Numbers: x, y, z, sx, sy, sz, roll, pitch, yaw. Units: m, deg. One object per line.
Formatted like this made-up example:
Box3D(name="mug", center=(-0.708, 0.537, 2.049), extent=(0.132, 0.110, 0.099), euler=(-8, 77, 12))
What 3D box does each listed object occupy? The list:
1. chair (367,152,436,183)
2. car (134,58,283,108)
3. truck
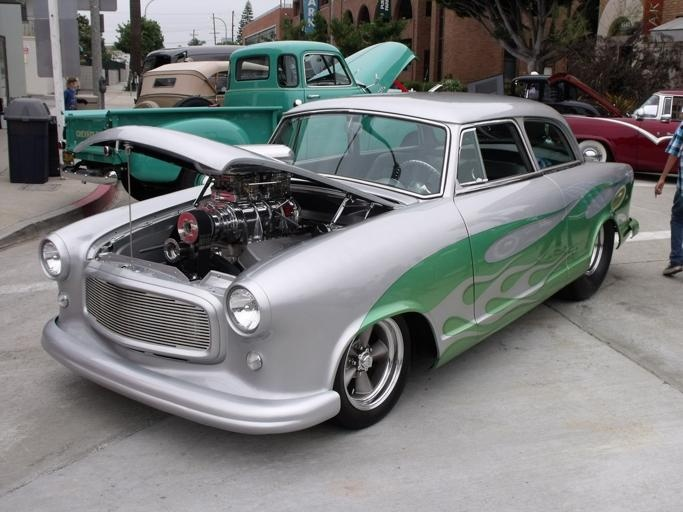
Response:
Box3D(name="chair", center=(0.451, -0.631, 3.740), extent=(0.288, 0.148, 0.266), euler=(6, 7, 41))
Box3D(name="car", center=(-3.543, -4.647, 13.901), extent=(3.610, 1.581, 2.017), euler=(-11, 24, -25))
Box3D(name="truck", center=(-0.983, -2.678, 9.522), extent=(7.586, 2.609, 2.887), euler=(-14, 20, -35))
